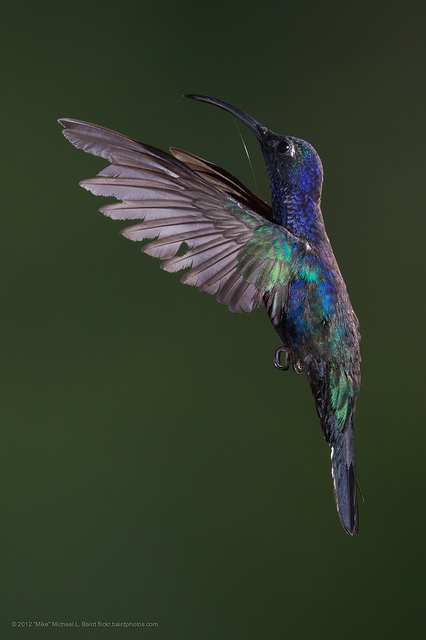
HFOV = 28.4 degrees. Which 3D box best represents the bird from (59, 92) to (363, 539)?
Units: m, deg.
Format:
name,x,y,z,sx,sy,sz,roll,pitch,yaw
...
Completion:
name,x,y,z,sx,sy,sz,roll,pitch,yaw
bird,0.041,-0.023,1.158,0.322,0.594,0.640,-2,-4,2
